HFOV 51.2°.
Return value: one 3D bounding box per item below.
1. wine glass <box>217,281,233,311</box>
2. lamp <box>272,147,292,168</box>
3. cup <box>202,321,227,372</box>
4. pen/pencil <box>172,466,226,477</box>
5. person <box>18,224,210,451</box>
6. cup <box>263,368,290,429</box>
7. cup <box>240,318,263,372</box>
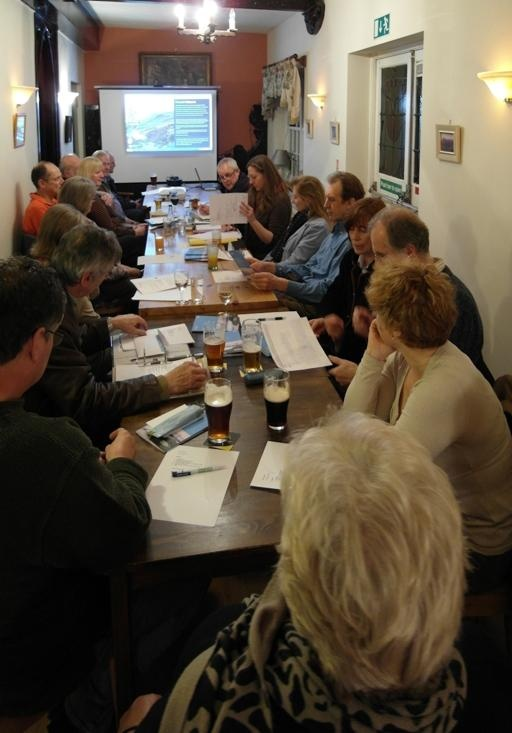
[{"bbox_3d":[-0.169,-0.376,2.877,0.079,0.209,0.086,-13,37,-15],"label":"wine glass"},{"bbox_3d":[0.360,-3.258,8.377,0.302,0.334,0.319,-8,13,-27],"label":"lamp"},{"bbox_3d":[-0.159,-0.069,2.040,0.110,0.205,0.108,-3,29,1],"label":"cup"},{"bbox_3d":[-0.145,0.274,1.380,0.093,0.017,0.010,-6,9,-26],"label":"pen/pencil"},{"bbox_3d":[-0.635,0.044,2.122,0.695,1.137,0.632,5,27,-22],"label":"person"},{"bbox_3d":[0.061,0.102,1.582,0.086,0.170,0.086,-1,34,1],"label":"cup"},{"bbox_3d":[-0.017,-0.075,2.045,0.076,0.219,0.094,-18,39,-18],"label":"cup"}]
